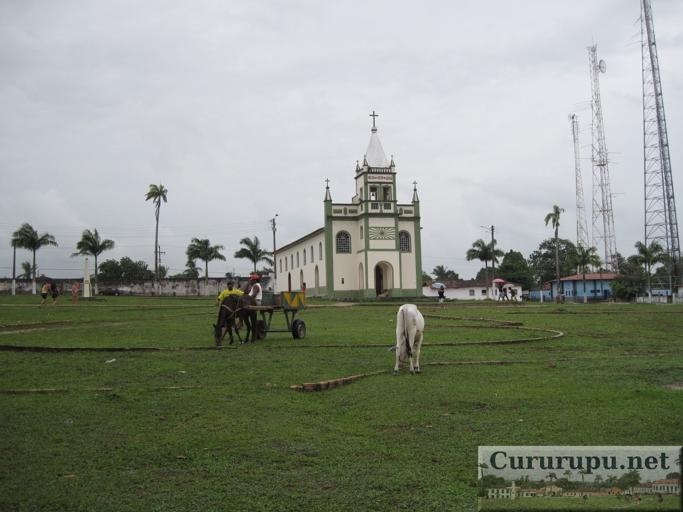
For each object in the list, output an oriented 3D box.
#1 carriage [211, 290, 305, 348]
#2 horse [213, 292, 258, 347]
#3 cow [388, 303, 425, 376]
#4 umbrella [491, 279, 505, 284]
[{"bbox_3d":[-2.377,1.700,17.111,1.544,1.380,2.935,2,-1,43],"label":"carriage"},{"bbox_3d":[-2.995,1.765,17.017,0.628,1.649,2.532,-5,-11,18],"label":"horse"},{"bbox_3d":[1.429,1.676,13.005,0.601,1.371,1.685,0,1,6],"label":"cow"},{"bbox_3d":[16.450,2.776,64.899,1.049,0.541,1.243,0,-6,-6],"label":"umbrella"}]
